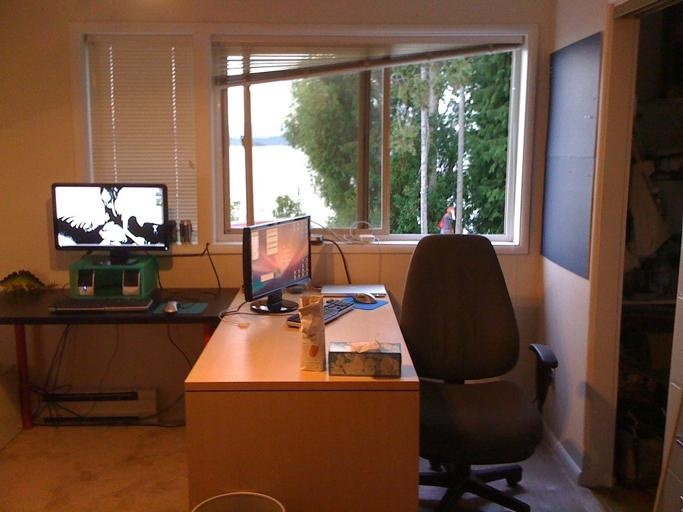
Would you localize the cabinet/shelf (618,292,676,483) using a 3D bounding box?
[{"bbox_3d":[1.686,0.755,3.372,0.292,1.051,0.175,-2,10,8],"label":"cabinet/shelf"}]

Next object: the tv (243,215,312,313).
[{"bbox_3d":[-0.369,0.056,3.477,0.200,0.444,0.494,2,9,18],"label":"tv"}]
